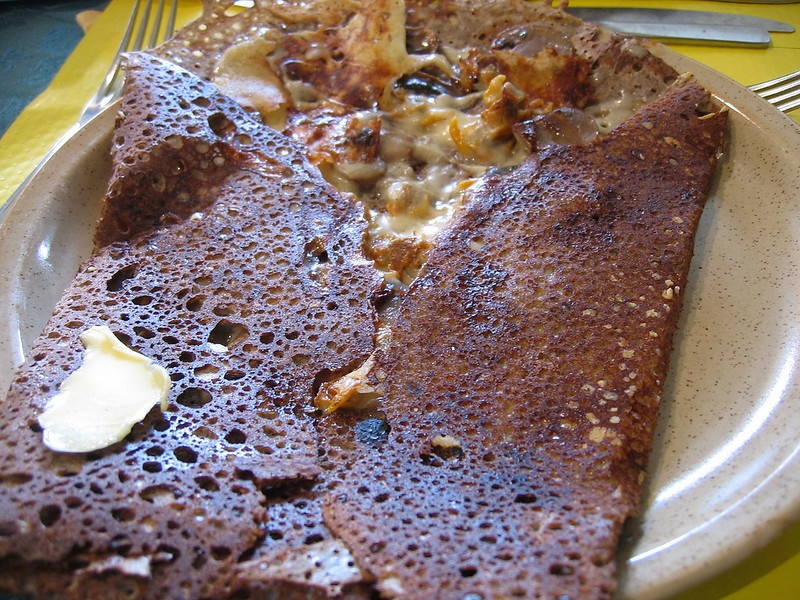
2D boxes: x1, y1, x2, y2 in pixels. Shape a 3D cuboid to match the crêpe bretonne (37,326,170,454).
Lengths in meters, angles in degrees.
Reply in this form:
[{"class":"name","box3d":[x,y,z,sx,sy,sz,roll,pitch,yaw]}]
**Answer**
[{"class":"crêpe bretonne","box3d":[-0.477,0.153,1.364,0.186,0.032,0.231,14,53,-1]}]
